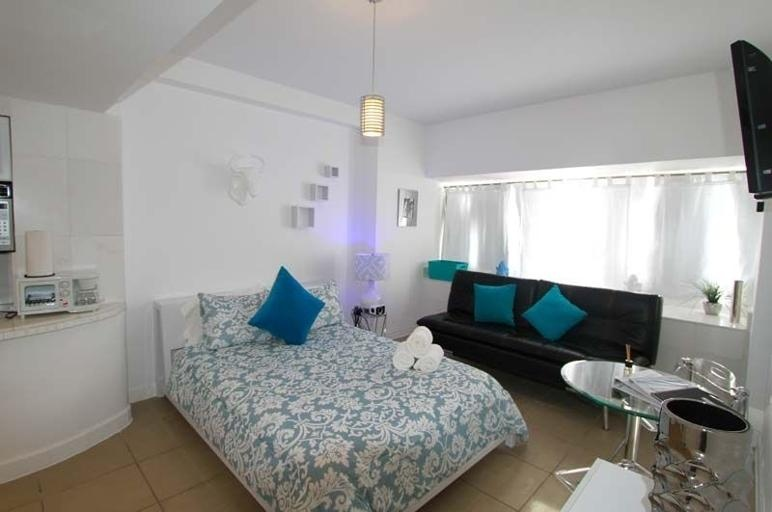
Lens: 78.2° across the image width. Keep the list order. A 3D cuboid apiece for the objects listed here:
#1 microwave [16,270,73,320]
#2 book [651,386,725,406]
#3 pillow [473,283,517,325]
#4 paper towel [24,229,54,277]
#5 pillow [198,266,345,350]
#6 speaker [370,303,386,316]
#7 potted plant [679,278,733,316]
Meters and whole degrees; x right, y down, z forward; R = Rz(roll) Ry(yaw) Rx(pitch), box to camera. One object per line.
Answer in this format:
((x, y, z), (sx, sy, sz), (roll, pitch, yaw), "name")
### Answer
((-2.840, 0.326, 3.922), (0.274, 0.352, 0.389), (10, 9, 43), "microwave")
((1.811, 0.835, 2.852), (0.282, 0.069, 0.292), (-2, 5, -29), "book")
((1.278, 0.565, 5.528), (0.430, 0.402, 0.158), (-1, -19, 22), "pillow")
((-2.886, -0.022, 3.994), (0.252, 0.387, 0.246), (-9, -6, 33), "paper towel")
((-1.340, 0.570, 4.376), (1.230, 0.748, 0.328), (-3, -32, -26), "pillow")
((-0.117, 0.657, 6.027), (0.152, 0.109, 0.153), (-1, 2, -38), "speaker")
((3.361, 0.399, 5.014), (0.366, 0.245, 0.363), (-3, 6, -27), "potted plant")
